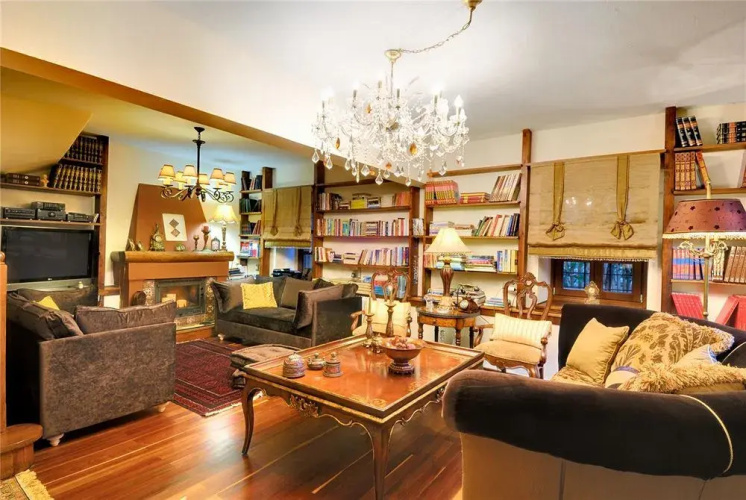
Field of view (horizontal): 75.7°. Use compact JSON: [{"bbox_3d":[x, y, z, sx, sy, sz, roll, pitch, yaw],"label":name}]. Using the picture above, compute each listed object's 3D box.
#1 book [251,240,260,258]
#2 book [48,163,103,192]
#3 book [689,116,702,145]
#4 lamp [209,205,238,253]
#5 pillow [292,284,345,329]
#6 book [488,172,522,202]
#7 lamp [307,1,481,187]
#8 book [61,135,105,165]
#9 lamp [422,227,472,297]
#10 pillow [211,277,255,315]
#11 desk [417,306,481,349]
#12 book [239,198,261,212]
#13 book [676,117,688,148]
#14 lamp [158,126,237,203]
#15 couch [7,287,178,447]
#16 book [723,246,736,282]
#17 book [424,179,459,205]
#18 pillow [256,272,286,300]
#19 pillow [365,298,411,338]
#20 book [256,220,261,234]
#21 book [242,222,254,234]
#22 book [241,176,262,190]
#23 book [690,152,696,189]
[{"bbox_3d":[-2.236,-0.018,9.180,0.203,0.322,0.141,0,1,10],"label":"book"},{"bbox_3d":[-4.357,-0.966,7.045,0.355,0.472,0.672,-4,-11,43],"label":"book"},{"bbox_3d":[3.558,-1.317,5.352,0.061,0.266,0.268,-12,-13,29],"label":"book"},{"bbox_3d":[-2.626,-0.345,8.526,0.521,0.830,0.523,0,-3,-16],"label":"lamp"},{"bbox_3d":[-0.677,0.739,6.178,0.647,0.544,0.271,0,0,-45],"label":"pillow"},{"bbox_3d":[1.796,-0.794,6.577,0.356,0.449,0.472,11,0,25],"label":"book"},{"bbox_3d":[0.216,-1.451,4.857,1.775,1.306,1.378,6,2,18],"label":"lamp"},{"bbox_3d":[-4.231,-1.475,7.076,0.366,0.472,0.498,3,-1,27],"label":"book"},{"bbox_3d":[0.929,0.121,5.998,0.515,0.887,0.909,0,0,10],"label":"lamp"},{"bbox_3d":[-2.085,0.672,6.984,0.415,0.477,0.140,-2,-11,-32],"label":"pillow"},{"bbox_3d":[0.908,0.847,5.829,0.619,0.643,0.577,1,-4,-19],"label":"desk"},{"bbox_3d":[-2.316,-0.846,9.173,0.569,0.294,0.205,0,0,26],"label":"book"},{"bbox_3d":[3.445,-1.305,5.379,0.061,0.261,0.256,-2,6,23],"label":"book"},{"bbox_3d":[-2.532,-1.258,6.957,1.114,1.082,1.138,11,9,41],"label":"lamp"},{"bbox_3d":[-2.904,0.661,4.856,2.005,1.590,1.171,1,1,43],"label":"couch"},{"bbox_3d":[3.800,0.170,5.139,0.067,0.285,0.289,12,6,29],"label":"book"},{"bbox_3d":[0.992,-0.811,6.783,0.369,0.359,0.203,-2,-5,32],"label":"book"},{"bbox_3d":[-1.481,0.564,7.411,0.384,0.381,0.117,6,0,17],"label":"pillow"},{"bbox_3d":[0.226,0.825,5.839,0.415,0.560,0.453,-1,-13,10],"label":"pillow"},{"bbox_3d":[-2.106,-0.425,8.887,0.064,0.257,0.388,0,0,-20],"label":"book"},{"bbox_3d":[-2.388,-0.388,9.192,0.258,0.243,0.191,1,-2,-32],"label":"book"},{"bbox_3d":[-2.306,-1.264,9.133,0.317,0.166,0.405,-1,1,-32],"label":"book"},{"bbox_3d":[3.551,-0.899,5.339,0.067,0.287,0.292,-1,-7,28],"label":"book"}]
